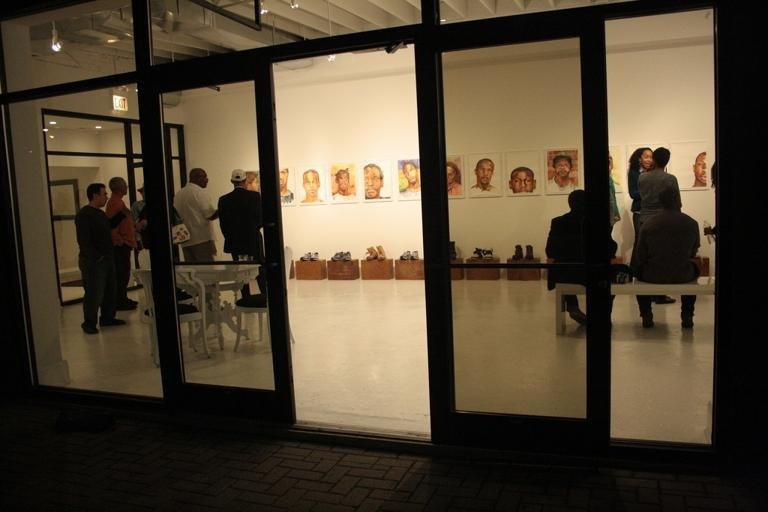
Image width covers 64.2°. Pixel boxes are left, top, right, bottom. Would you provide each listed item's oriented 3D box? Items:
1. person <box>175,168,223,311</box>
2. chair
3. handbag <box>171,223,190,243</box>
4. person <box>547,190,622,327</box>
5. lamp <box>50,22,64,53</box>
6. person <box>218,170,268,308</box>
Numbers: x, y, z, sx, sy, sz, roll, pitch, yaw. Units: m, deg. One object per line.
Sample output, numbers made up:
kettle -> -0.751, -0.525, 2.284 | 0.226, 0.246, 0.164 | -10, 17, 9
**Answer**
person -> -1.654, -0.346, 5.335 | 0.395, 0.823, 0.094 | 0, 7, 24
chair -> -1.652, 0.347, 5.559 | 1.188, 0.759, 1.175 | -3, 4, -2
handbag -> -1.785, -0.204, 5.379 | 0.167, 0.159, 0.051 | -2, -7, 11
person -> 1.356, 0.008, 4.563 | 0.293, 0.993, 0.106 | -1, 7, 15
lamp -> -3.036, -2.009, 5.651 | 0.127, 0.271, 0.039 | 0, 7, 23
person -> -1.244, -0.333, 5.217 | 0.429, 0.793, 0.100 | 0, 8, 26
